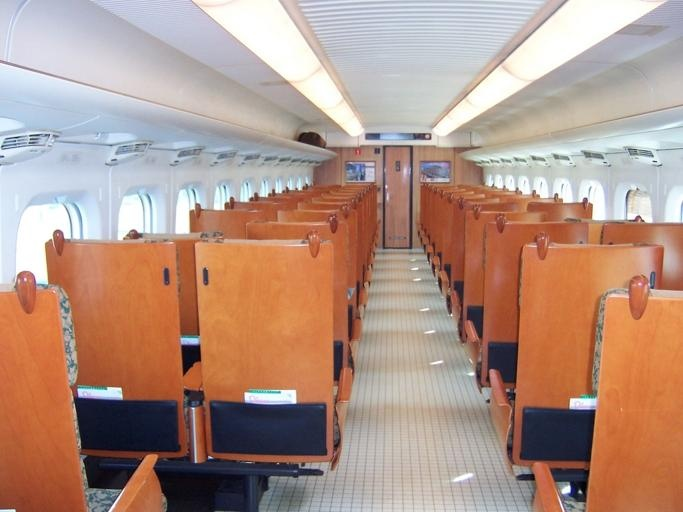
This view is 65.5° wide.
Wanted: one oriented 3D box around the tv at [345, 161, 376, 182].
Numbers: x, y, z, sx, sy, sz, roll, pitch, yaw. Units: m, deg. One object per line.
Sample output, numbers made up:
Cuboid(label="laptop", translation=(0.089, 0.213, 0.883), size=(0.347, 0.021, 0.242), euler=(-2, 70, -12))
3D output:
Cuboid(label="tv", translation=(0.699, -2.898, 18.228), size=(1.217, 0.855, 0.681), euler=(2, 11, 12))
